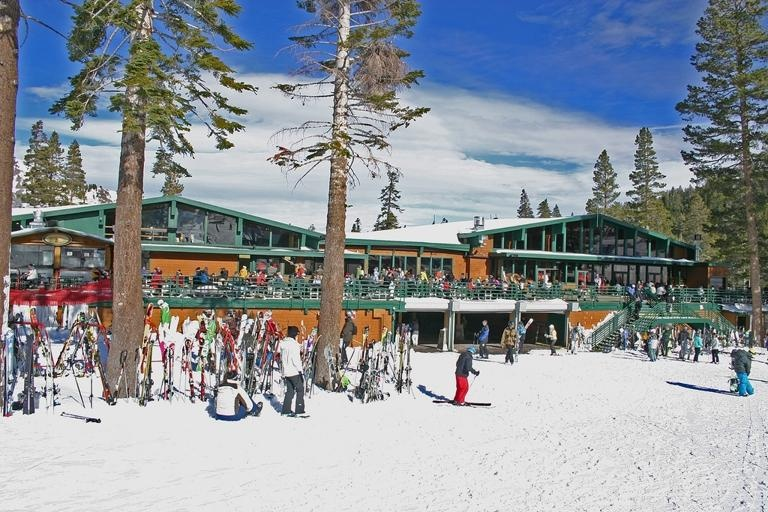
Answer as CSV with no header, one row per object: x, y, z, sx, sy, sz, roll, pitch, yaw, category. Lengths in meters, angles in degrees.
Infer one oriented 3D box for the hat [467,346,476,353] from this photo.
3.742,4.043,35.075,0.370,0.373,0.292,21,-2,6,hat

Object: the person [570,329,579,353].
11.445,5.078,48.981,0.400,1.490,1.278,2,-2,17,person

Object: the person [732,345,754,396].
17.124,5.580,38.998,0.832,2.267,1.069,1,-2,38,person

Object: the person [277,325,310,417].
-3.691,4.626,32.504,1.074,2.530,1.371,2,-2,-6,person
